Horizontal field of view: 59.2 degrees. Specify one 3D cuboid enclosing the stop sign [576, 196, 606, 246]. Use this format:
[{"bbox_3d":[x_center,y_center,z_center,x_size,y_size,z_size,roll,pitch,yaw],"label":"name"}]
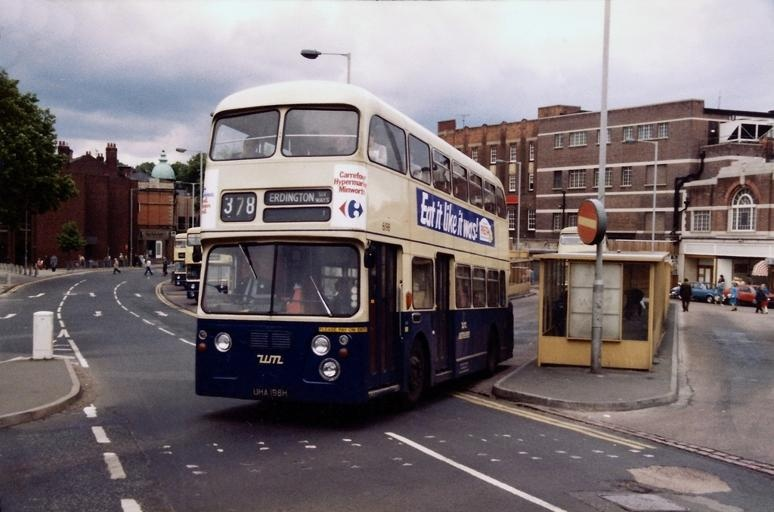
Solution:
[{"bbox_3d":[5.493,-0.905,18.229,0.686,1.196,0.895,1,-1,16],"label":"stop sign"}]
